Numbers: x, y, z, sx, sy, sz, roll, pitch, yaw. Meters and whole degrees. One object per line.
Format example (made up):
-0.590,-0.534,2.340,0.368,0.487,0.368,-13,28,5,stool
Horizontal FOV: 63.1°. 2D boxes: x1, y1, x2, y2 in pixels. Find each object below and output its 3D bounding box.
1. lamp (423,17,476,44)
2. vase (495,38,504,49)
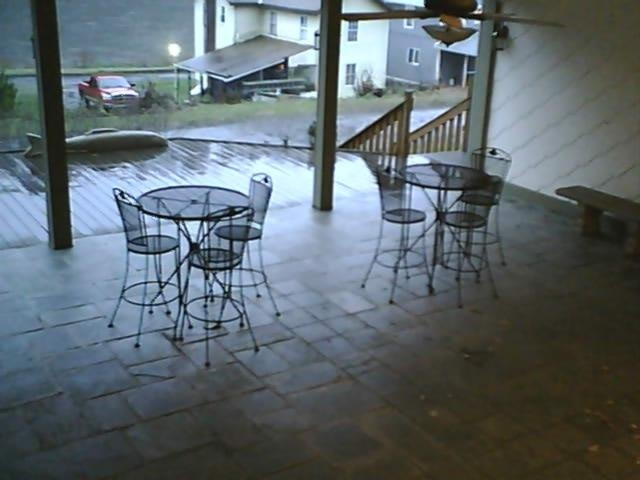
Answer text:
1.102,-1.788,4.462,0.311,0.154,0.252,-14,34,-31,lamp
2.934,-3.177,8.464,0.168,0.169,0.054,-11,24,-29,vase
